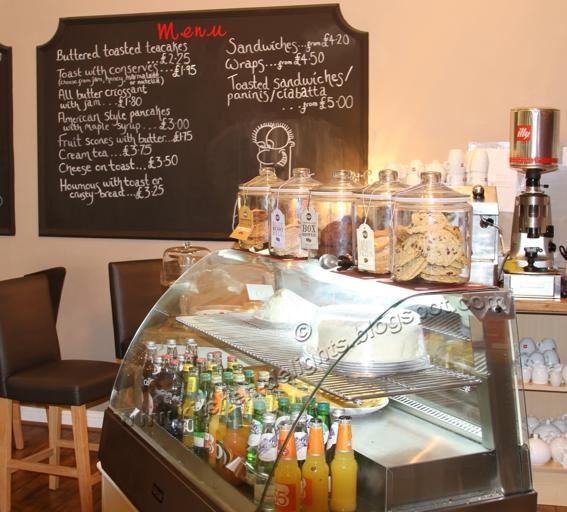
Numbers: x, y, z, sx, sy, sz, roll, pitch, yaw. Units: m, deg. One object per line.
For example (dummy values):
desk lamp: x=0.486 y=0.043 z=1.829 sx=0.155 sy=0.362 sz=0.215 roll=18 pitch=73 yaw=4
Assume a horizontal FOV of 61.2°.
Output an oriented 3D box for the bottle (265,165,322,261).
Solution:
bottle: x=0.017 y=-0.130 z=1.354 sx=0.198 sy=0.322 sz=0.202 roll=1 pitch=-1 yaw=0

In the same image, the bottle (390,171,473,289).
bottle: x=0.268 y=-0.058 z=0.898 sx=0.177 sy=0.252 sz=0.183 roll=0 pitch=5 yaw=0

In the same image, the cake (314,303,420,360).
cake: x=0.152 y=0.150 z=0.893 sx=0.205 sy=0.113 sz=0.133 roll=-1 pitch=5 yaw=16
